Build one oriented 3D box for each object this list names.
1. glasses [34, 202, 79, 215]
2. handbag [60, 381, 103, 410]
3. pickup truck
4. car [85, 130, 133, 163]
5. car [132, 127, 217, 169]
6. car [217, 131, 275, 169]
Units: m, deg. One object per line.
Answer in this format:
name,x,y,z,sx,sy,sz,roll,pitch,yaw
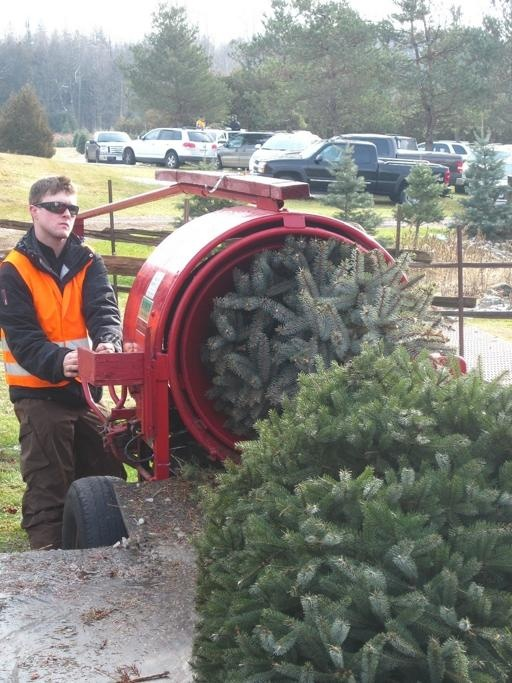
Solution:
glasses,-1.011,-0.701,4.364,0.127,0.081,0.253,9,16,35
handbag,-0.937,0.288,4.459,0.140,0.159,0.094,-8,21,-14
pickup truck,2.388,-4.338,21.247,4.352,1.658,1.416,-3,14,-11
car,-5.692,-7.574,32.080,1.241,0.733,2.405,-2,7,-18
car,-2.923,-6.759,28.975,1.038,1.314,3.707,-13,18,-41
car,-0.461,-6.449,27.826,2.042,0.977,1.184,16,23,38
